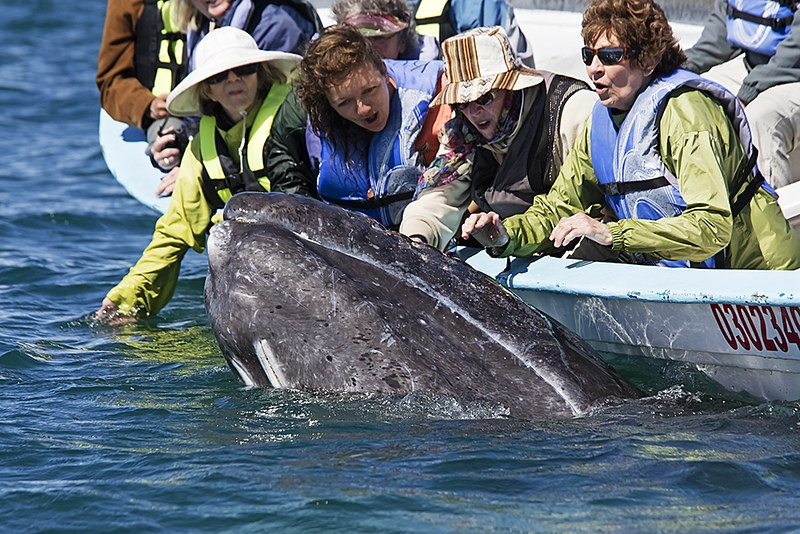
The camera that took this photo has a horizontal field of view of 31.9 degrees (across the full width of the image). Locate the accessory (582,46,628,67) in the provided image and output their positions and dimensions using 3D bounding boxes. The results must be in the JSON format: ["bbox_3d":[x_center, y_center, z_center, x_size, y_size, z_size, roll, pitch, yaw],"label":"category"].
[{"bbox_3d":[1.441,-1.476,9.804,0.199,0.056,0.202,4,2,40],"label":"accessory"}]

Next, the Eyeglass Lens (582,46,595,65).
[{"bbox_3d":[1.343,-1.494,9.935,0.123,0.122,0.060,10,18,16],"label":"Eyeglass Lens"}]

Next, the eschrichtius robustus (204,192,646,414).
[{"bbox_3d":[-0.032,0.250,8.820,2.311,1.358,0.633,-1,24,7],"label":"eschrichtius robustus"}]
